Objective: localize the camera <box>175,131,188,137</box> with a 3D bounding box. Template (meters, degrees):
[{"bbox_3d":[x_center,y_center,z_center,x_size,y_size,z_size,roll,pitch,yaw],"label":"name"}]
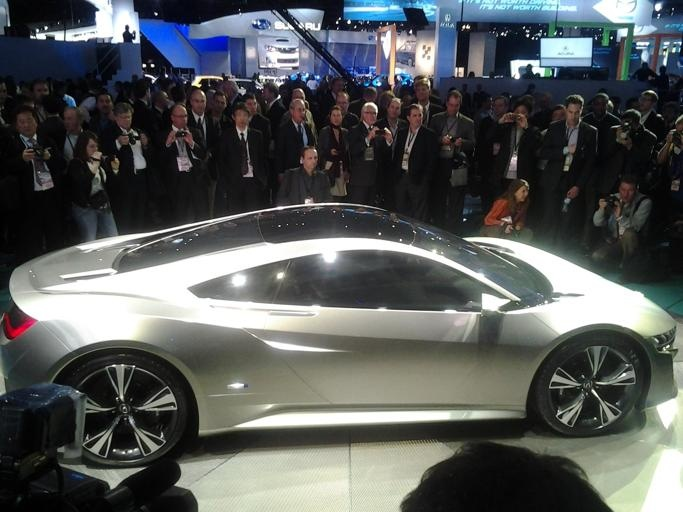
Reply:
[{"bbox_3d":[-2.136,-1.631,6.963,0.148,0.091,0.088,10,21,26],"label":"camera"}]

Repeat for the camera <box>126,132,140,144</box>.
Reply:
[{"bbox_3d":[-2.676,-1.537,6.733,0.163,0.171,0.063,-6,-10,-34],"label":"camera"}]

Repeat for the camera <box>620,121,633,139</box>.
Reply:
[{"bbox_3d":[4.068,-1.801,7.473,0.156,0.246,0.108,1,0,1],"label":"camera"}]

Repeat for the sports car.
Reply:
[{"bbox_3d":[-0.048,0.452,3.884,3.594,1.154,2.176,-1,17,-7],"label":"sports car"}]

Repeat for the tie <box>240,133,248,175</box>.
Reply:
[{"bbox_3d":[-1.386,-1.459,7.435,0.098,0.562,0.145,-3,18,-9],"label":"tie"}]

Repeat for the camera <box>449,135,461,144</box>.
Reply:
[{"bbox_3d":[1.715,-1.755,7.937,0.153,0.083,0.220,1,16,-6],"label":"camera"}]

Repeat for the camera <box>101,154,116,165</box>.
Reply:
[{"bbox_3d":[-2.810,-1.180,6.306,0.135,0.098,0.041,1,13,-8],"label":"camera"}]

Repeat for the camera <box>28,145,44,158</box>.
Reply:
[{"bbox_3d":[-3.473,-1.199,5.970,0.159,0.135,0.148,-13,7,-23],"label":"camera"}]

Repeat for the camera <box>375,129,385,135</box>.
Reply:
[{"bbox_3d":[0.544,-1.783,7.474,0.136,0.090,0.144,-4,20,-11],"label":"camera"}]
